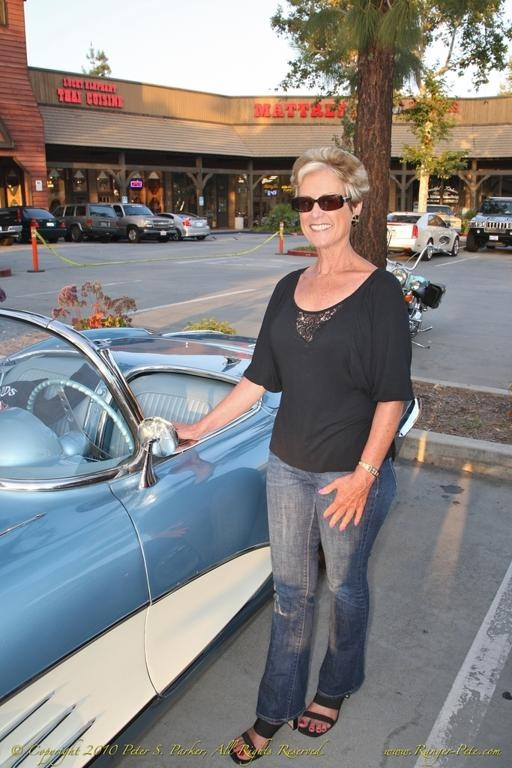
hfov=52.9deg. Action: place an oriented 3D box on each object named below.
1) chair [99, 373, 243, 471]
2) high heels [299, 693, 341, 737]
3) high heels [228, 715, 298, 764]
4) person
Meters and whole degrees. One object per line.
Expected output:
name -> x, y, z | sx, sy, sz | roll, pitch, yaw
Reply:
chair -> -0.277, 0.129, 1.794 | 0.267, 0.329, 0.122 | 2, -10, -2
high heels -> 0.224, 1.160, 1.807 | 0.086, 0.057, 0.224 | 3, 8, 28
high heels -> 0.023, 1.167, 1.741 | 0.239, 0.060, 0.082 | -21, 38, -33
person -> 0.068, 0.211, 1.755 | 0.696, 1.979, 0.802 | -1, 3, 8
